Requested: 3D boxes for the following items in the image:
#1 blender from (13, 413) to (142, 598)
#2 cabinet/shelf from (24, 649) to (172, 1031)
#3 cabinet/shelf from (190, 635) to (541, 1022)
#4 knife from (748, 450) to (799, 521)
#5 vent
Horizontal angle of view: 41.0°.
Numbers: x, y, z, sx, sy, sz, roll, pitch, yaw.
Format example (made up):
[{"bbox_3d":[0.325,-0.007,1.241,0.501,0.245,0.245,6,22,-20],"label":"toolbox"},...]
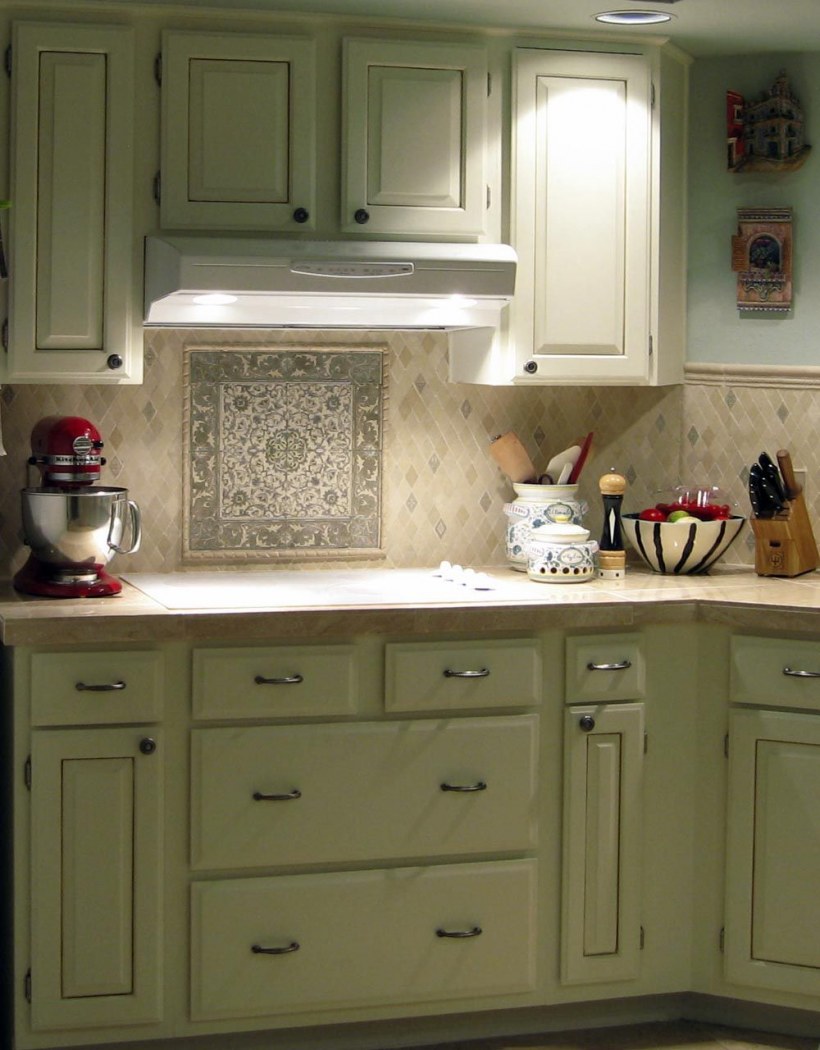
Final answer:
[{"bbox_3d":[-0.720,-0.056,2.369,0.231,0.371,0.444,-3,7,-39],"label":"blender"},{"bbox_3d":[-0.706,0.614,2.217,0.275,0.744,0.390,6,-14,-37],"label":"cabinet/shelf"},{"bbox_3d":[-0.212,0.635,2.429,0.872,0.734,0.562,7,-12,-33],"label":"cabinet/shelf"},{"bbox_3d":[0.912,-0.099,2.776,0.086,0.097,0.240,-12,28,24],"label":"knife"},{"bbox_3d":[-0.173,-0.547,2.473,0.835,0.189,0.318,-2,4,-13],"label":"vent"}]
